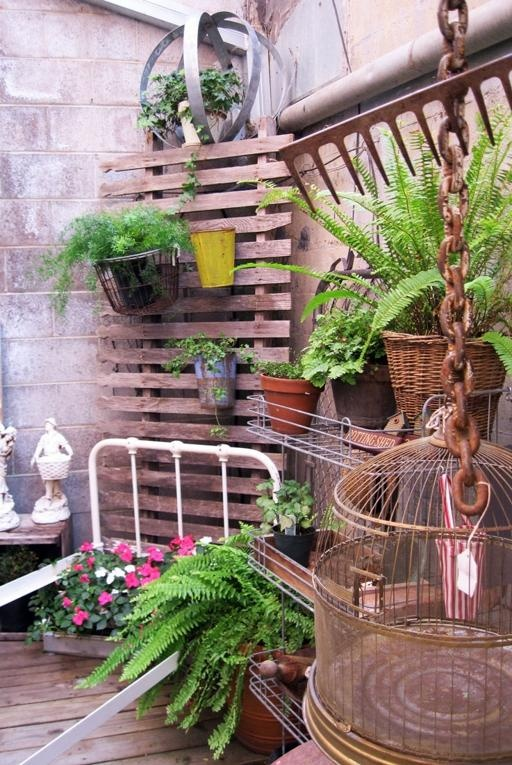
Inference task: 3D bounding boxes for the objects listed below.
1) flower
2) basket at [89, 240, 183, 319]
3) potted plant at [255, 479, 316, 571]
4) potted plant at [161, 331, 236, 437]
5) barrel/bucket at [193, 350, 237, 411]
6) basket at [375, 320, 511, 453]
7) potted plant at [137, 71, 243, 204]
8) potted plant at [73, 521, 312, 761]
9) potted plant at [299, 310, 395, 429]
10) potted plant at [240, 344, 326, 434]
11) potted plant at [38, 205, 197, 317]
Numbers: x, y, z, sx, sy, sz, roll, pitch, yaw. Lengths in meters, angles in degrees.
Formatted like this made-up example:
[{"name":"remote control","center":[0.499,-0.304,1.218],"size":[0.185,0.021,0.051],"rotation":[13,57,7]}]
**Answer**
[{"name":"flower","center":[-0.621,0.865,2.848],"size":[0.669,0.261,0.665],"rotation":[-1,4,24]},{"name":"basket","center":[-0.488,-0.464,2.887],"size":[0.330,0.220,0.318],"rotation":[-14,15,-25]},{"name":"potted plant","center":[0.078,0.403,1.798],"size":[0.151,0.227,0.172],"rotation":[-6,-15,35]},{"name":"potted plant","center":[-0.164,0.020,3.048],"size":[0.455,0.440,0.458],"rotation":[2,-4,-39]},{"name":"barrel/bucket","center":[-0.175,-0.005,2.923],"size":[0.254,0.299,0.224],"rotation":[0,-7,4]},{"name":"basket","center":[0.414,-0.002,1.419],"size":[0.251,0.213,0.209],"rotation":[-5,-3,10]},{"name":"potted plant","center":[-0.224,-1.178,2.955],"size":[0.282,0.321,0.266],"rotation":[14,10,29]},{"name":"potted plant","center":[-0.104,0.634,2.044],"size":[0.796,0.318,0.773],"rotation":[4,-4,-39]},{"name":"potted plant","center":[0.249,-0.037,1.706],"size":[0.278,0.296,0.316],"rotation":[-1,3,41]},{"name":"potted plant","center":[0.116,0.066,2.001],"size":[0.236,0.169,0.215],"rotation":[3,-2,45]},{"name":"potted plant","center":[-0.585,-0.538,2.938],"size":[0.495,0.299,0.606],"rotation":[-2,-4,-41]}]
